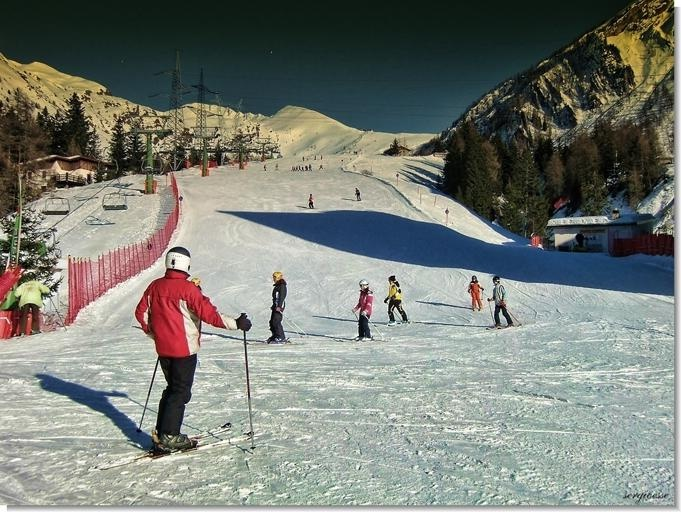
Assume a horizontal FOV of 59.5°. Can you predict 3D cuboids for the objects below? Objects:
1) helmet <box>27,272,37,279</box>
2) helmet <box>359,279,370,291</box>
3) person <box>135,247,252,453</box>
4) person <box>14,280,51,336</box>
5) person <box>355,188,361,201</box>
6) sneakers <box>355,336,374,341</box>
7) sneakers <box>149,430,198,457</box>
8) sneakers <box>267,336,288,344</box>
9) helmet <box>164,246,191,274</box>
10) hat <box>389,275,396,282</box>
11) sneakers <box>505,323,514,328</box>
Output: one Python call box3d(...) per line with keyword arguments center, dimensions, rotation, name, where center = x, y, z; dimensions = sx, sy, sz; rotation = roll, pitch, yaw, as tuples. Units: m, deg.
box3d(center=(-9.703, 0.606, 18.733), dimensions=(0.236, 0.193, 0.182), rotation=(-12, 4, 3), name="helmet")
box3d(center=(0.713, 0.792, 16.623), dimensions=(0.353, 0.370, 0.376), rotation=(-2, -7, -4), name="helmet")
box3d(center=(-2.130, 1.252, 8.156), dimensions=(1.288, 2.735, 0.696), rotation=(-1, 5, -6), name="person")
box3d(center=(-8.137, 1.348, 15.796), dimensions=(0.801, 1.454, 0.835), rotation=(-3, 6, -28), name="person")
box3d(center=(1.483, -5.292, 51.602), dimensions=(0.607, 0.495, 1.530), rotation=(-11, -18, 10), name="person")
box3d(center=(0.632, 2.238, 16.275), dimensions=(0.474, 0.191, 0.154), rotation=(1, -6, 6), name="sneakers")
box3d(center=(-2.267, 2.516, 8.106), dimensions=(0.657, 0.285, 0.253), rotation=(0, 0, -24), name="sneakers")
box3d(center=(-1.674, 2.225, 15.811), dimensions=(0.578, 0.229, 0.186), rotation=(2, -11, 3), name="sneakers")
box3d(center=(-2.250, 0.029, 8.323), dimensions=(0.328, 0.403, 0.411), rotation=(3, 11, 0), name="helmet")
box3d(center=(1.672, 0.713, 18.695), dimensions=(0.309, 0.251, 0.246), rotation=(0, -1, -12), name="hat")
box3d(center=(5.140, 2.103, 18.053), dimensions=(0.330, 0.140, 0.110), rotation=(8, -15, -36), name="sneakers")
